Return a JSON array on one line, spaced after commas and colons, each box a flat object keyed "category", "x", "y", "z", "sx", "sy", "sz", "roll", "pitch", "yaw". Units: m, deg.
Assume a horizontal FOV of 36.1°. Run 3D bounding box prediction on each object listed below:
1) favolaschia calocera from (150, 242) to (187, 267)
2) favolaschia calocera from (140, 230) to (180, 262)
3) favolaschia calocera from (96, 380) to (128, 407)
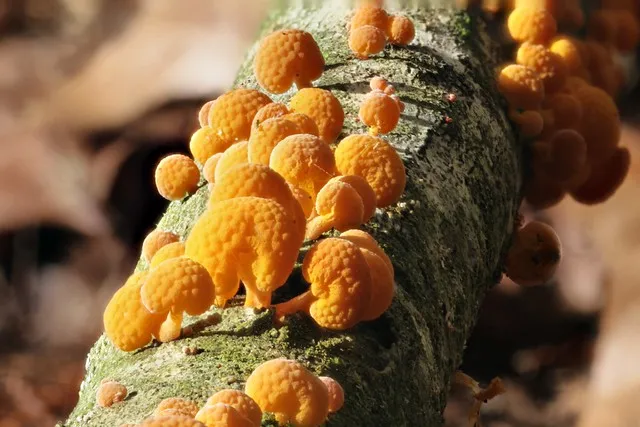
[{"category": "favolaschia calocera", "x": -0.963, "y": 0.255, "z": 6.179, "sx": 0.188, "sy": 0.144, "sz": 0.111, "roll": -35, "pitch": 83, "yaw": -3}, {"category": "favolaschia calocera", "x": -1.044, "y": 0.225, "z": 6.563, "sx": 0.199, "sy": 0.253, "sz": 0.218, "roll": -1, "pitch": -12, "yaw": -35}, {"category": "favolaschia calocera", "x": -1.275, "y": 1.106, "z": 6.008, "sx": 0.179, "sy": 0.104, "sz": 0.137, "roll": 11, "pitch": 40, "yaw": 21}]
